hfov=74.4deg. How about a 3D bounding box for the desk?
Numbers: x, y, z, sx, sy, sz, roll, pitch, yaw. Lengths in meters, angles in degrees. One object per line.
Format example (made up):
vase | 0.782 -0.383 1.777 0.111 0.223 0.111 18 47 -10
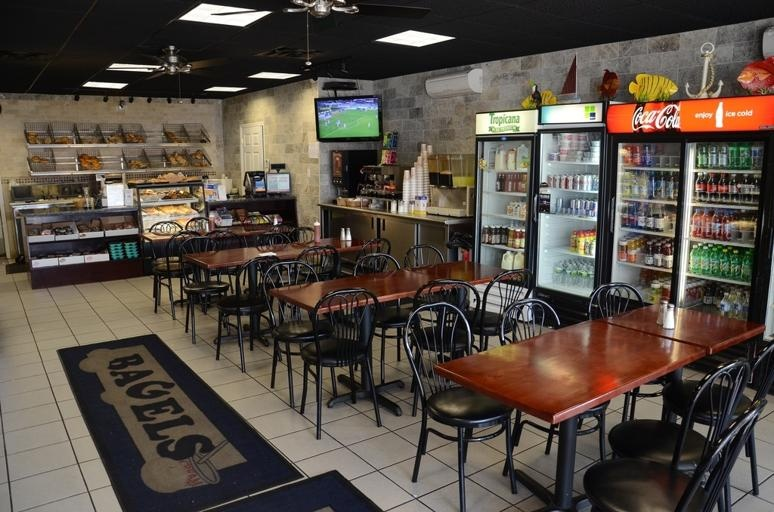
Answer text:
desk | -0.026 -0.507 8.331 2.131 0.637 0.483 12 34 26

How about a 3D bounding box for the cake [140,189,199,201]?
cake | -3.975 -1.125 9.413 0.307 0.294 0.993 7 15 42

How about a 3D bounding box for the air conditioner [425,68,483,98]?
air conditioner | 1.011 -2.602 7.670 0.855 0.360 0.263 7 17 42

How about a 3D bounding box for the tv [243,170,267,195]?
tv | -2.766 -1.460 10.145 0.427 0.483 0.572 -6 11 -35
